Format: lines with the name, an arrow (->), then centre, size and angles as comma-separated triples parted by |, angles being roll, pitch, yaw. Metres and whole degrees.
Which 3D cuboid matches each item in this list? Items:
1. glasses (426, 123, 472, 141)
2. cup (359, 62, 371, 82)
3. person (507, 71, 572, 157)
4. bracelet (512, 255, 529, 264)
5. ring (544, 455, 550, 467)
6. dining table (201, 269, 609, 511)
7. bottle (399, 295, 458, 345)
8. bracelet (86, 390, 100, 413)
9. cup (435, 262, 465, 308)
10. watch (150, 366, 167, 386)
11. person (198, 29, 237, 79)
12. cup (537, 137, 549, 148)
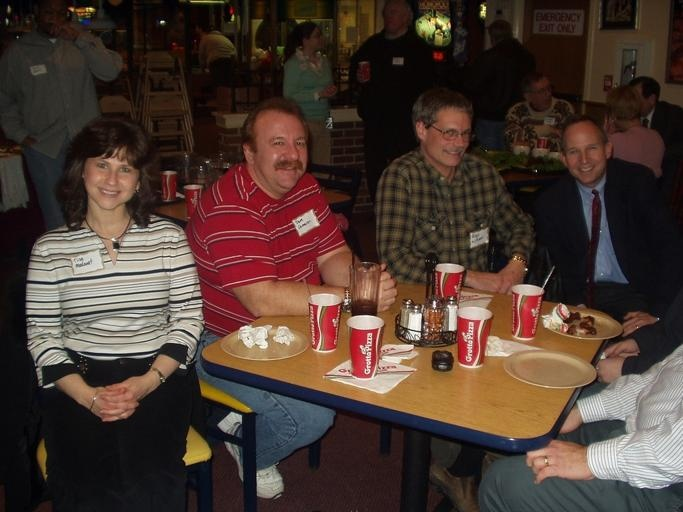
glasses -> 0.601, -0.668, 3.003 | 0.260, 0.089, 0.140 | -2, 15, -6
cup -> 0.256, -2.062, 6.227 | 0.130, 0.194, 0.219 | 0, 15, 1
person -> 2.287, -1.366, 6.355 | 0.780, 1.303, 0.653 | -1, 2, 13
bracelet -> 0.964, 0.021, 2.989 | 0.049, 0.055, 0.064 | 1, 1, 30
ring -> 0.662, 0.662, 1.785 | 0.018, 0.026, 0.028 | -12, -3, 26
dining table -> 0.265, 0.611, 2.060 | 1.194, 0.661, 0.843 | 7, 17, 26
bottle -> 0.313, 0.234, 2.008 | 0.178, 0.103, 0.171 | 2, 9, 0
bracelet -> -0.897, 0.527, 1.991 | 0.041, 0.071, 0.017 | 1, 16, 6
cup -> 0.440, 0.115, 2.257 | 0.130, 0.159, 0.147 | 9, 15, 18
watch -> -0.692, 0.454, 2.102 | 0.070, 0.071, 0.043 | -8, 8, 4
person -> -2.331, -3.718, 10.280 | 0.397, 1.008, 1.302 | -7, 17, -22
cup -> 2.062, -1.150, 5.662 | 0.105, 0.112, 0.107 | 1, 6, 0
